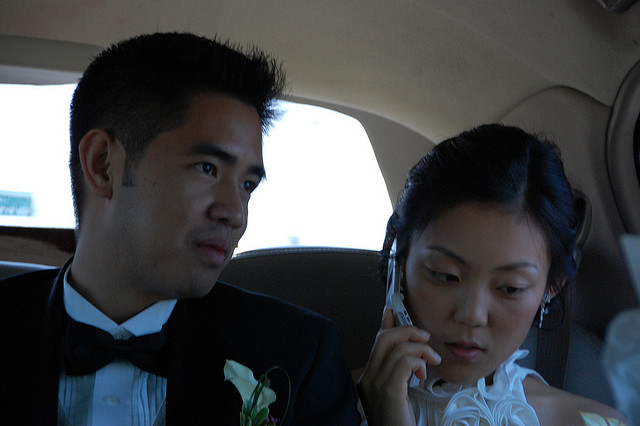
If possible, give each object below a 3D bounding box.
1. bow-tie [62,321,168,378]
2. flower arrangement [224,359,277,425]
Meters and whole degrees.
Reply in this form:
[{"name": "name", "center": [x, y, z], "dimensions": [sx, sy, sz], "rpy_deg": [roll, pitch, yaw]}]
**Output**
[{"name": "bow-tie", "center": [-1.032, 0.721, 3.028], "dimensions": [0.516, 0.286, 0.121], "rpy_deg": [10, -7, -12]}, {"name": "flower arrangement", "center": [-0.334, 0.875, 2.857], "dimensions": [0.267, 0.289, 0.076], "rpy_deg": [8, -7, -3]}]
